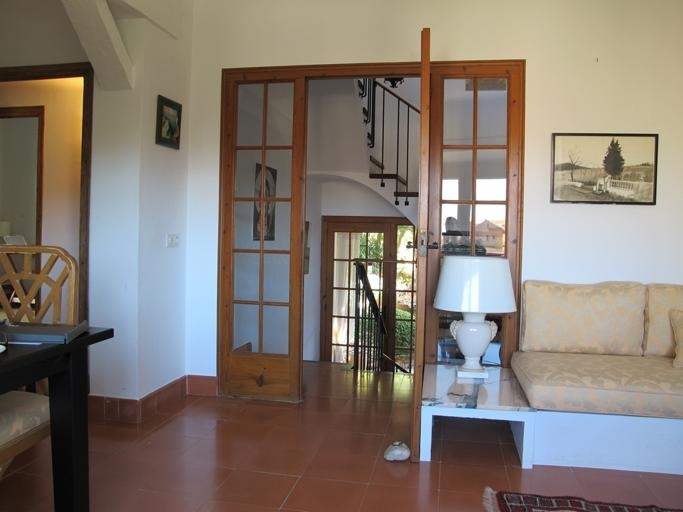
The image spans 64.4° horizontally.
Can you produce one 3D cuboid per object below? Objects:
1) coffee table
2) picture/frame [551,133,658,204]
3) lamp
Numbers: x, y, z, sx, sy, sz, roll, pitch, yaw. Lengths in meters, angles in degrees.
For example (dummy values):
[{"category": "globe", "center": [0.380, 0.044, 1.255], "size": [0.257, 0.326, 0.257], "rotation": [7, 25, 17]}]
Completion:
[{"category": "coffee table", "center": [0.992, 1.107, 4.009], "size": [0.499, 0.289, 0.778], "rotation": [0, 2, 5]}, {"category": "picture/frame", "center": [2.240, -0.738, 4.538], "size": [0.559, 0.432, 0.022], "rotation": [0, 4, 7]}, {"category": "lamp", "center": [1.173, 0.440, 4.670], "size": [0.830, 1.187, 0.834], "rotation": [-1, 4, -9]}]
